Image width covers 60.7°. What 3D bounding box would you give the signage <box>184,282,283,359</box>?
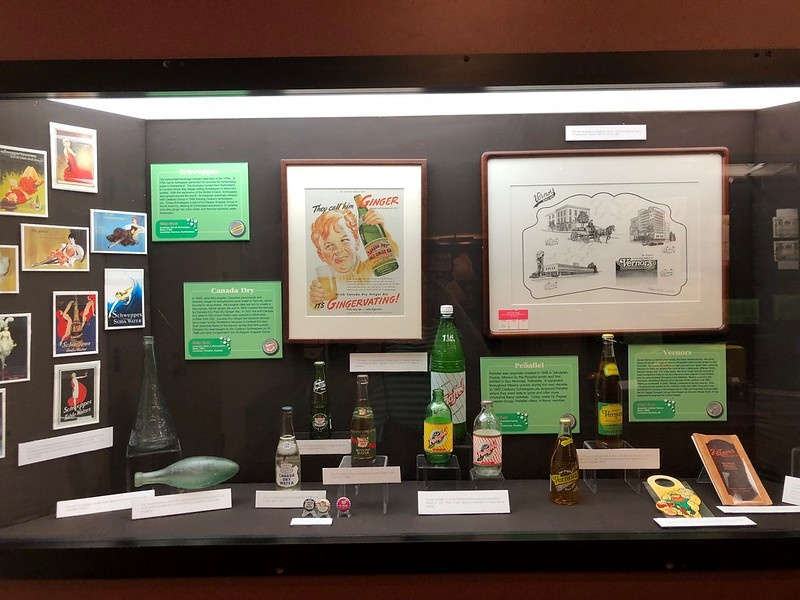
[{"bbox_3d":[-0.588,0.058,2.374,0.271,0.205,0.029,0,3,-1],"label":"signage"}]

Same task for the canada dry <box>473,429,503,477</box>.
[{"bbox_3d":[0.300,0.514,2.324,0.100,0.150,0.092,-4,-9,24],"label":"canada dry"}]

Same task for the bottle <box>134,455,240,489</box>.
[{"bbox_3d":[-0.702,0.584,2.345,0.382,0.116,0.114,-2,16,-12],"label":"bottle"}]

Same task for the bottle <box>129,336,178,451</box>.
[{"bbox_3d":[-0.844,0.324,2.324,0.162,0.353,0.060,-4,2,-21],"label":"bottle"}]

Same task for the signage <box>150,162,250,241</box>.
[{"bbox_3d":[-0.703,-0.350,2.355,0.274,0.211,0.010,0,-1,-5],"label":"signage"}]

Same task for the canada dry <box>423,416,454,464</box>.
[{"bbox_3d":[0.136,0.477,2.326,0.103,0.148,0.094,-4,-10,14],"label":"canada dry"}]

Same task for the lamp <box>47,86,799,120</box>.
[{"bbox_3d":[0.125,-0.662,2.275,1.926,0.102,0.087,0,17,2],"label":"lamp"}]
